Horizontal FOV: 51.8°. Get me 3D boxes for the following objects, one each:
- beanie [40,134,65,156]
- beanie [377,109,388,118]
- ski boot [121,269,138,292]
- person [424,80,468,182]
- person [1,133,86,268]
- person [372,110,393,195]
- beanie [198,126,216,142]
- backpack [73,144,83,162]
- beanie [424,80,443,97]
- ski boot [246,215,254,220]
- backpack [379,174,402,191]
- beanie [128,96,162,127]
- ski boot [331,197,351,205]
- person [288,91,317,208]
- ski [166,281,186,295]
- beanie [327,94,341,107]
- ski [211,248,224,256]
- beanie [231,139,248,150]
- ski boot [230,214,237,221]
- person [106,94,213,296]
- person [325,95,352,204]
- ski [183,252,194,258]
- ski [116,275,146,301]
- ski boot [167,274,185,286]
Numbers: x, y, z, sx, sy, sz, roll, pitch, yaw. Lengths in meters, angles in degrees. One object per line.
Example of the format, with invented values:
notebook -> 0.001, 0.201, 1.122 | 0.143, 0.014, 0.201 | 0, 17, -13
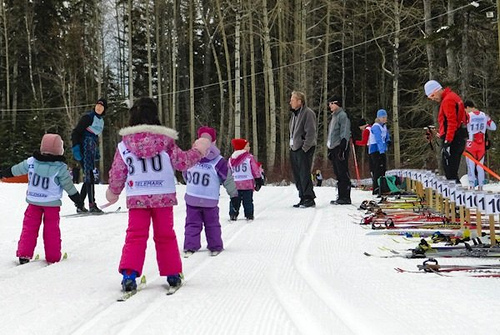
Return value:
beanie -> -3.083, -0.374, 8.072 | 0.292, 0.350, 0.367 | 5, 12, -7
beanie -> 3.766, -1.583, 14.900 | 0.256, 0.224, 0.262 | -2, 1, 37
ski boot -> -1.475, 1.395, 6.303 | 0.161, 0.247, 0.248 | 2, -12, -6
person -> 3.943, -0.767, 10.369 | 0.602, 1.777, 0.681 | -1, 0, -41
person -> -3.116, 0.459, 7.837 | 0.972, 2.159, 0.693 | -1, 0, -27
person -> 3.686, -0.434, 14.569 | 0.496, 2.197, 1.164 | -1, 0, 13
beanie -> -0.736, -0.570, 8.684 | 0.253, 0.255, 0.658 | -1, 0, -1
backpack -> -3.810, -0.323, 11.440 | 0.269, 0.473, 0.313 | -3, 4, -12
beanie -> 3.711, -1.646, 10.505 | 0.319, 0.280, 0.294 | -26, -5, -33
ski boot -> -0.004, 1.059, 10.825 | 0.164, 0.090, 0.109 | -1, 0, -6
backpack -> 3.823, 0.428, 14.086 | 0.332, 0.398, 0.668 | -1, 0, 41
beanie -> -1.389, -0.714, 6.681 | 0.403, 0.430, 0.434 | -3, -7, 1
ski boot -> 2.262, 0.833, 12.707 | 0.396, 0.176, 0.161 | 2, -5, 0
person -> 1.280, -0.464, 12.521 | 0.629, 2.668, 0.614 | -1, 0, 4
ski -> -0.924, 1.513, 6.401 | 0.052, 0.030, 0.397 | 29, 18, 13
beanie -> 2.150, -1.700, 13.091 | 0.296, 0.277, 0.671 | -1, 0, 11
ski -> -0.515, 1.327, 8.011 | 0.131, 0.090, 0.348 | -1, 0, 12
beanie -> -0.227, -0.507, 11.187 | 0.299, 0.232, 0.514 | -1, 0, 0
ski boot -> -0.358, 1.070, 10.886 | 0.105, 0.129, 0.067 | 36, -11, -25
person -> -1.246, 0.298, 6.722 | 1.204, 2.579, 1.049 | -1, 0, -16
person -> 2.244, -0.467, 13.030 | 0.544, 2.513, 0.964 | -1, 0, 8
ski -> -0.962, 1.352, 7.929 | 0.124, 0.072, 0.231 | -1, 0, 11
ski -> -1.445, 1.492, 6.342 | 0.111, 0.284, 0.531 | -1, 0, 19
ski boot -> -0.939, 1.441, 6.517 | 0.119, 0.098, 0.141 | -1, -18, 6
